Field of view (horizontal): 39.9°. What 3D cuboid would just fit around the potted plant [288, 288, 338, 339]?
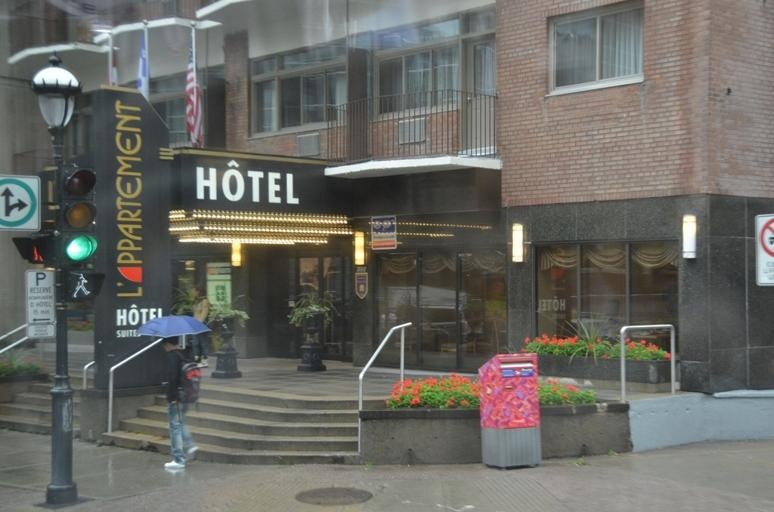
[{"bbox_3d":[-2.039,1.480,29.957,1.244,1.309,3.415,-4,-6,-3],"label":"potted plant"}]

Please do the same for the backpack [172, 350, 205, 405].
[{"bbox_3d":[-4.259,2.546,22.412,0.653,1.140,0.312,-3,-6,-13],"label":"backpack"}]

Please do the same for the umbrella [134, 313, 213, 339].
[{"bbox_3d":[-4.501,1.493,22.610,1.383,0.497,0.794,-2,-6,-13],"label":"umbrella"}]
